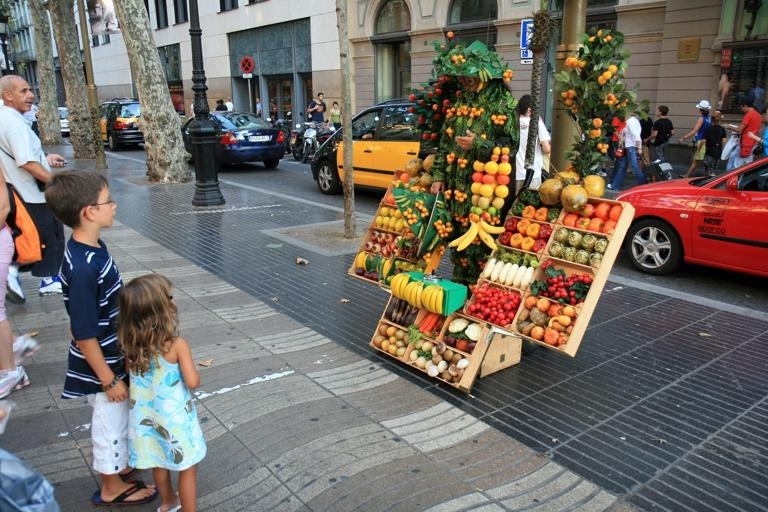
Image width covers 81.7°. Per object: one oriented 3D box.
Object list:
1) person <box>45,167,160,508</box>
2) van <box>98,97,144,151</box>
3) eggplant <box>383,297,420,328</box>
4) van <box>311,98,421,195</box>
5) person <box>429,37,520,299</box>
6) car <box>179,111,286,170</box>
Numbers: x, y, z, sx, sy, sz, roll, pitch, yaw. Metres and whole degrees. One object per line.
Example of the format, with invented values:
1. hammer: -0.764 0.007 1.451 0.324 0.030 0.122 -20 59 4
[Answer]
1. person: -1.862 0.552 3.122 0.727 2.198 0.663 0 5 -3
2. van: -13.917 -7.074 23.944 2.377 2.350 5.355 -16 26 -42
3. eggplant: 0.185 0.628 4.945 0.324 0.313 0.113 26 1 21
4. van: 0.306 -2.929 12.513 4.976 2.605 2.425 15 22 36
5. person: 0.895 -0.966 4.665 0.842 2.512 0.909 1 0 14
6. car: -6.361 -4.872 18.055 2.800 1.790 6.179 -16 25 -39
